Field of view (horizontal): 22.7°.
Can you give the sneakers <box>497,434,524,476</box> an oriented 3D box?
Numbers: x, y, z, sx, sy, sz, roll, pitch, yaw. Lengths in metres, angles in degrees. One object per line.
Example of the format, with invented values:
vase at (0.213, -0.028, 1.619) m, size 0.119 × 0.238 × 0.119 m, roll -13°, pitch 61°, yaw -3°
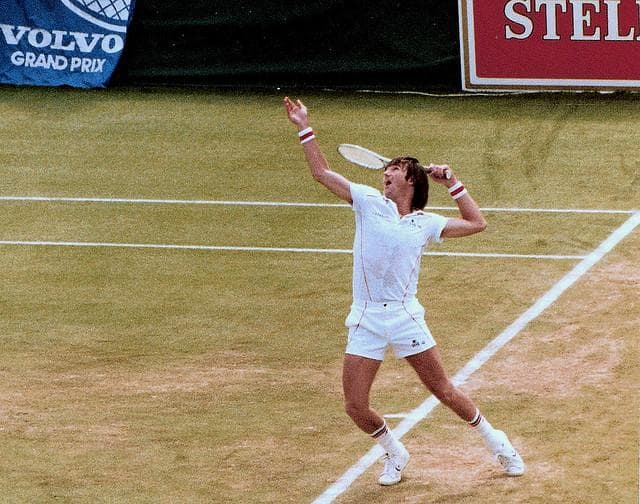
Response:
sneakers at (2.067, 2.221, 17.415) m, size 0.162 × 0.420 × 0.188 m, roll -37°, pitch -1°, yaw 27°
